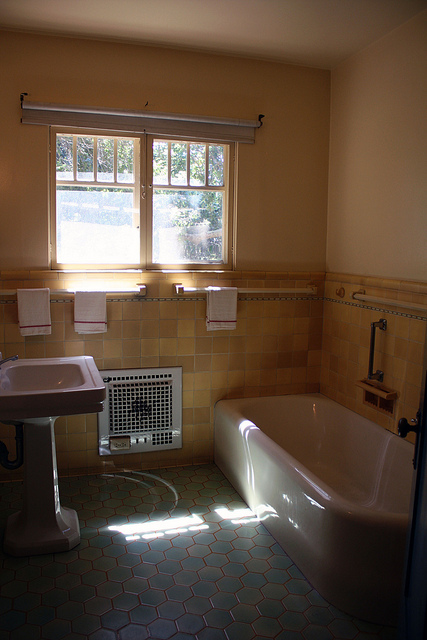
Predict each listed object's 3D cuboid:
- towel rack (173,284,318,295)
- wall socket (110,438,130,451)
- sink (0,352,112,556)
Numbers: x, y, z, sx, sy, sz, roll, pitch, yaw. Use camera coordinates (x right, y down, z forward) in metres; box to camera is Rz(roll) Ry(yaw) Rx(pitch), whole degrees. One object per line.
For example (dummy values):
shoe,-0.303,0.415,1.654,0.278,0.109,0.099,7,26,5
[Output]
towel rack,0.225,-0.184,2.939,0.974,0.077,0.134,0,4,-24
wall socket,-0.544,0.727,2.788,0.113,0.068,0.075,2,1,-19
sink,-0.749,0.580,2.191,0.406,0.789,0.913,0,4,-20
